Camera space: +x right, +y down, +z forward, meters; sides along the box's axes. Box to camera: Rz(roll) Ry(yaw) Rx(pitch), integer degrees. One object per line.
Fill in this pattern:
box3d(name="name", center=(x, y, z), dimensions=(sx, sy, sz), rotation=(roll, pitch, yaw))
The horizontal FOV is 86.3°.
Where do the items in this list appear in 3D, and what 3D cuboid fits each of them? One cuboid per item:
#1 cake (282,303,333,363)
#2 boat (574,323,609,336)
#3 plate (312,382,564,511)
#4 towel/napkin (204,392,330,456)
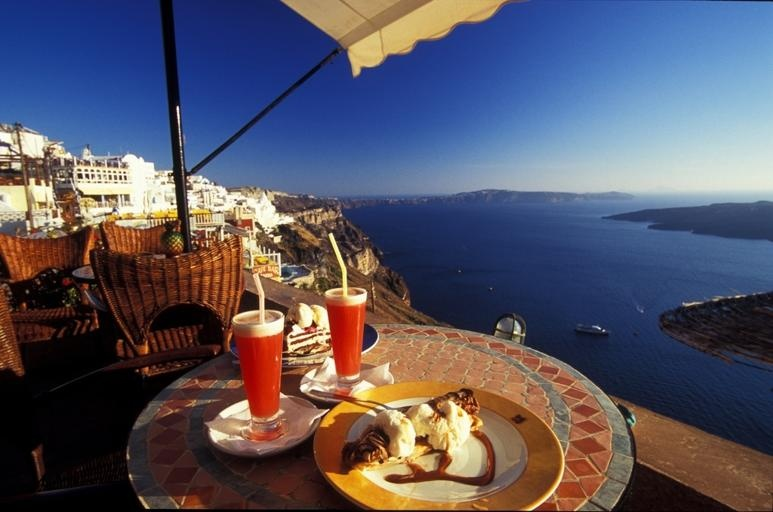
box3d(name="cake", center=(-0.405, 0.386, 2.209), dimensions=(0.301, 0.269, 0.307), rotation=(0, 17, -11))
box3d(name="boat", center=(16.299, 6.001, 32.719), dimensions=(1.628, 0.519, 0.917), rotation=(3, 6, 38))
box3d(name="plate", center=(0.173, 0.726, 1.583), dimensions=(0.898, 0.266, 0.496), rotation=(-2, 11, -7))
box3d(name="towel/napkin", center=(-0.514, 0.668, 1.716), dimensions=(0.413, 0.178, 0.334), rotation=(-3, 7, -36))
